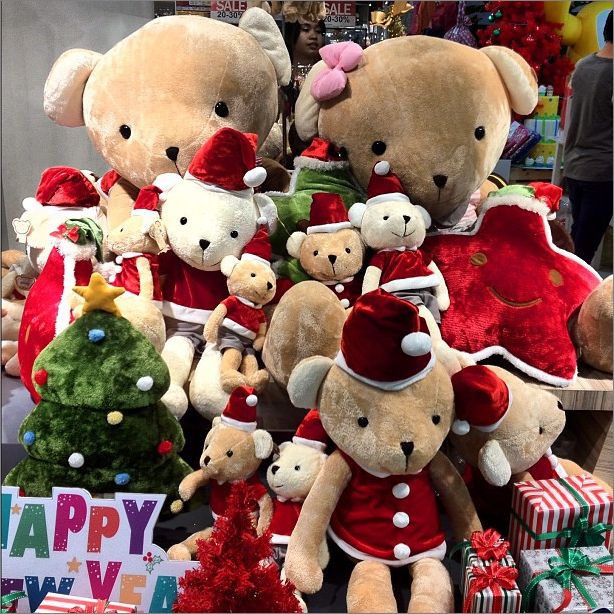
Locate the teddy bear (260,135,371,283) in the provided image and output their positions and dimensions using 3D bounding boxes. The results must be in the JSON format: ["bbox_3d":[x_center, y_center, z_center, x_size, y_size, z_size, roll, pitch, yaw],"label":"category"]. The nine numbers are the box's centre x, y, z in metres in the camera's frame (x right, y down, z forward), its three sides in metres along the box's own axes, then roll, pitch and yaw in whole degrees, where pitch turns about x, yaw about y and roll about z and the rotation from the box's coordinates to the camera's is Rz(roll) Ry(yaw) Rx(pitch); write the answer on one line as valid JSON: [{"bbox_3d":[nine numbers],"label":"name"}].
[{"bbox_3d":[0.024,-0.328,2.092,0.322,0.439,0.170,5,-14,-26],"label":"teddy bear"}]

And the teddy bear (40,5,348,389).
[{"bbox_3d":[-0.307,-0.421,2.375,0.993,0.934,0.634,-9,22,-6],"label":"teddy bear"}]

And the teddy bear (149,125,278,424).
[{"bbox_3d":[-0.274,-0.121,1.912,0.422,0.728,0.457,-5,31,-31],"label":"teddy bear"}]

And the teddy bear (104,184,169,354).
[{"bbox_3d":[-0.506,-0.087,1.928,0.210,0.533,0.187,0,26,-20],"label":"teddy bear"}]

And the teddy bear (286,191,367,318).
[{"bbox_3d":[0.070,-0.146,1.921,0.245,0.349,0.237,-1,23,14],"label":"teddy bear"}]

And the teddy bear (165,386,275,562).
[{"bbox_3d":[-0.197,0.391,1.591,0.245,0.402,0.261,2,10,17],"label":"teddy bear"}]

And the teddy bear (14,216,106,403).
[{"bbox_3d":[-0.667,0.008,1.843,0.184,0.480,0.183,10,7,-2],"label":"teddy bear"}]

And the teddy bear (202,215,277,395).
[{"bbox_3d":[-0.181,-0.001,1.854,0.186,0.384,0.323,2,20,-3],"label":"teddy bear"}]

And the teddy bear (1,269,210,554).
[{"bbox_3d":[-0.464,0.267,1.486,0.416,0.671,0.240,-1,20,-11],"label":"teddy bear"}]
